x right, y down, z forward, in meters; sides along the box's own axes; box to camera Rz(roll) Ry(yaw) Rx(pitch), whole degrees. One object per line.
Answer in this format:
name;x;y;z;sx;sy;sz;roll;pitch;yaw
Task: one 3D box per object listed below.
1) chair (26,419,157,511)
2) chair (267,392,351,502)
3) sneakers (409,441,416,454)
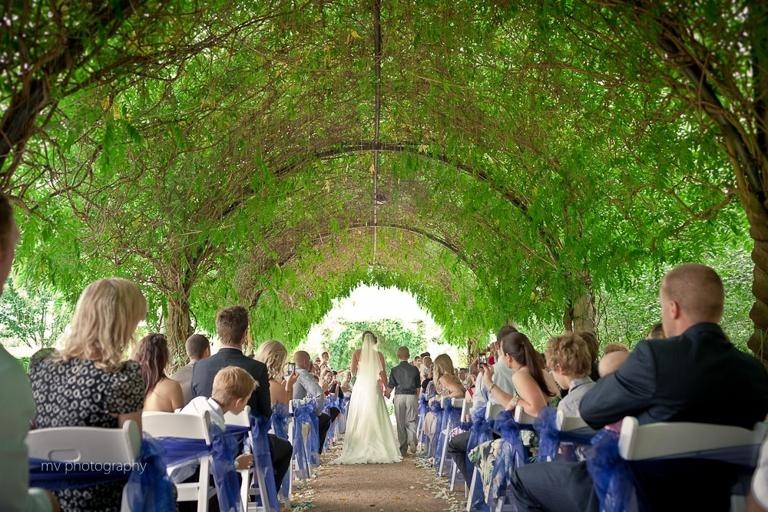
chair;-1.533;1.024;3.032;0.371;0.410;0.299;4;25;-8
chair;-1.189;2.493;8.116;0.892;1.579;1.124;1;0;-11
sneakers;0.541;3.605;11.282;0.084;0.268;0.113;-4;-2;4
